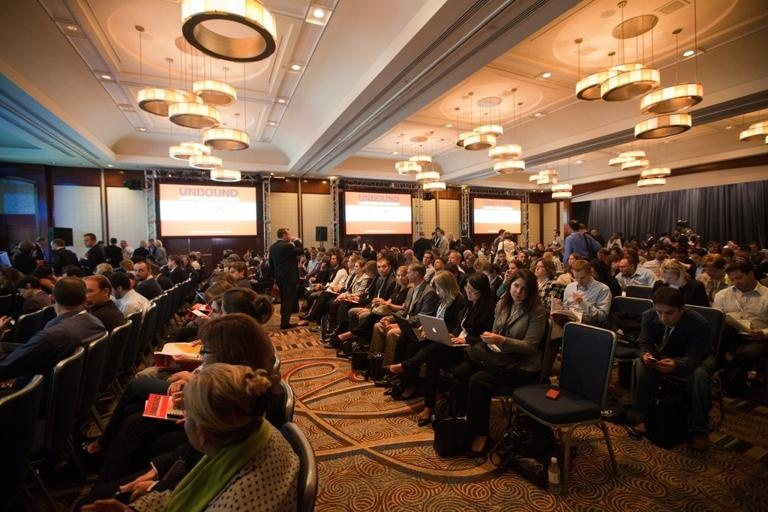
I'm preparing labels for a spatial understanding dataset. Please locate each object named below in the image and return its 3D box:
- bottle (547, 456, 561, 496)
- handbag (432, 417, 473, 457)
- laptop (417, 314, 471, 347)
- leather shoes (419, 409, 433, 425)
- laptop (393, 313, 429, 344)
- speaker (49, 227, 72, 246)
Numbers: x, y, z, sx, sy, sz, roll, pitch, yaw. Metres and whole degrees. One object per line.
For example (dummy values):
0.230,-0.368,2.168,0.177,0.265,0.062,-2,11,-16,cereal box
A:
1.819,2.314,5.048,0.130,0.381,0.219,0,3,16,bottle
0.757,2.083,5.484,0.556,0.493,0.295,-2,-2,-6,handbag
0.745,0.817,5.900,0.413,0.329,0.569,-6,4,-33,laptop
0.513,2.010,5.838,0.094,0.224,0.123,13,43,-6,leather shoes
0.353,0.963,6.303,0.345,0.348,0.512,1,-2,-26,laptop
-8.927,-0.532,12.998,0.691,0.608,0.352,-1,-2,-40,speaker
